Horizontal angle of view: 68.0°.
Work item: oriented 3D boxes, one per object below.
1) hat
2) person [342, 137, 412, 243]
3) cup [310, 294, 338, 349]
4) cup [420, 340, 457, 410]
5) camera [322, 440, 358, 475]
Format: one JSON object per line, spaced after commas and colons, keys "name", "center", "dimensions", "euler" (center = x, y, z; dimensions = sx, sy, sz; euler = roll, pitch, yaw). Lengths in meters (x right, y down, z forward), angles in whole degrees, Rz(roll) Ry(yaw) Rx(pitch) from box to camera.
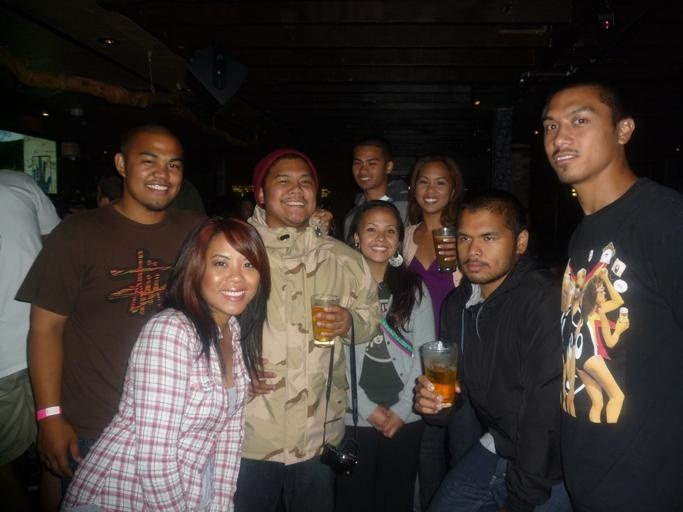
{"name": "hat", "center": [-0.384, -0.483, 3.389], "dimensions": [0.340, 0.335, 0.316], "euler": [15, -10, -6]}
{"name": "person", "center": [0.390, -0.602, 5.319], "dimensions": [0.851, 1.160, 0.643], "euler": [4, 8, 25]}
{"name": "cup", "center": [-0.107, 0.395, 3.080], "dimensions": [0.155, 0.318, 0.153], "euler": [2, 1, 0]}
{"name": "cup", "center": [0.556, 0.673, 2.896], "dimensions": [0.195, 0.384, 0.151], "euler": [2, 1, -9]}
{"name": "camera", "center": [-0.016, 1.229, 3.191], "dimensions": [0.213, 0.188, 0.327], "euler": [2, 1, -1]}
